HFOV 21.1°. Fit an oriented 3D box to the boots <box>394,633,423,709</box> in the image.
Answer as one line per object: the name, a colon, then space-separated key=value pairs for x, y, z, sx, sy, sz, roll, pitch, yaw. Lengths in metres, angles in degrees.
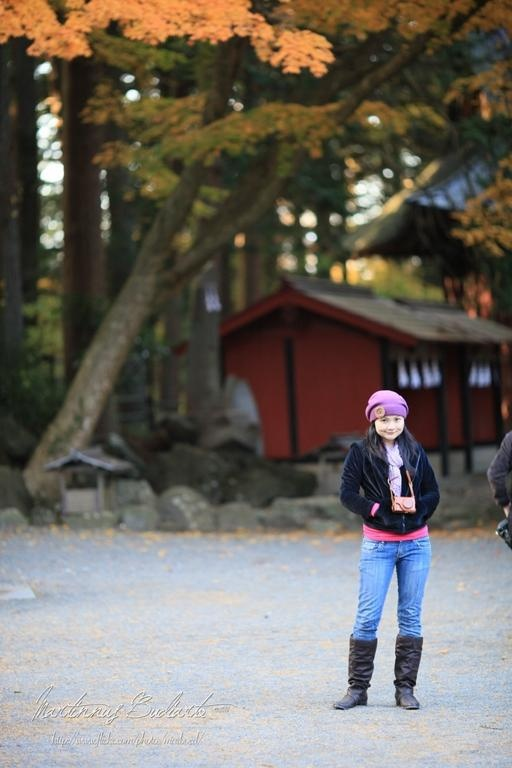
boots: x=0.883 y=1.679 z=7.995 sx=0.152 sy=0.391 sz=0.321 roll=0 pitch=5 yaw=6

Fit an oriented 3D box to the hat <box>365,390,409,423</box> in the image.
hat: x=0.758 y=0.145 z=8.169 sx=0.228 sy=0.156 sz=0.198 roll=-16 pitch=-32 yaw=40

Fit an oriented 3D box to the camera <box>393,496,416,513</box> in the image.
camera: x=0.855 y=0.712 z=7.925 sx=0.129 sy=0.090 sz=0.048 roll=0 pitch=5 yaw=6

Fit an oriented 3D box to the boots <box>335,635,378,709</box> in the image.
boots: x=0.585 y=1.689 z=8.018 sx=0.212 sy=0.381 sz=0.401 roll=1 pitch=5 yaw=12
